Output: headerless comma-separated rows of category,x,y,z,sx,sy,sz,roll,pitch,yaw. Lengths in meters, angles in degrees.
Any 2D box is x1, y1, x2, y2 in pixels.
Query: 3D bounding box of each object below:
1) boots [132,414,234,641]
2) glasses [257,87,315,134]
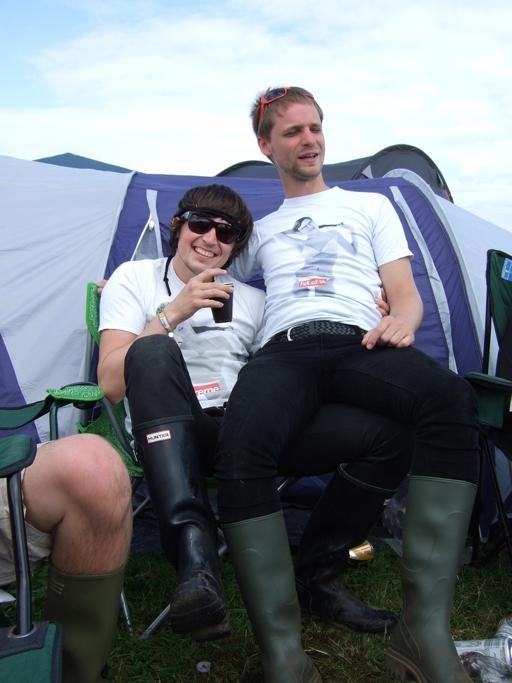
boots,-0.165,0.407,1.253,0.179,0.375,0.443,-7,14,-13
glasses,0.089,-1.018,2.345,0.209,0.202,0.057,-9,41,-23
